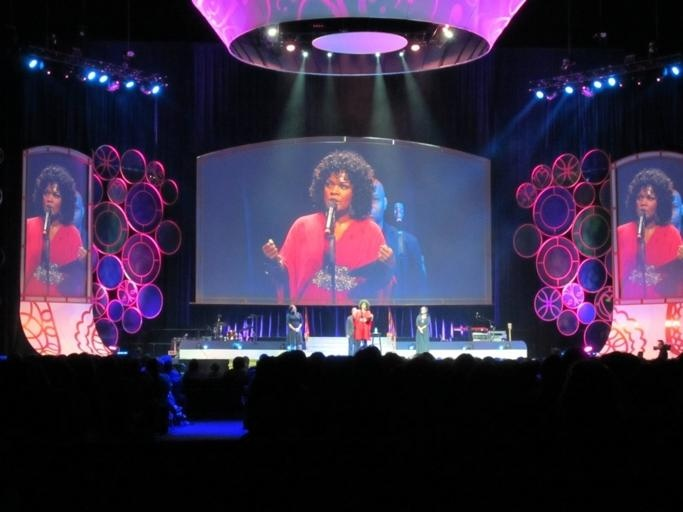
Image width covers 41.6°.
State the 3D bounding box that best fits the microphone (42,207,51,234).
[{"bbox_3d":[-5.164,-0.590,15.528,0.023,0.421,0.133,-1,-4,20],"label":"microphone"}]

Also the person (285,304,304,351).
[{"bbox_3d":[-0.863,1.233,15.681,0.323,0.747,0.793,0,-4,6],"label":"person"}]

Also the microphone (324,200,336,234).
[{"bbox_3d":[-0.244,-0.747,17.342,0.161,0.619,0.222,0,-7,6],"label":"microphone"}]

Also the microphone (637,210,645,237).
[{"bbox_3d":[5.438,-0.577,16.289,0.116,0.437,0.104,15,-12,-23],"label":"microphone"}]
